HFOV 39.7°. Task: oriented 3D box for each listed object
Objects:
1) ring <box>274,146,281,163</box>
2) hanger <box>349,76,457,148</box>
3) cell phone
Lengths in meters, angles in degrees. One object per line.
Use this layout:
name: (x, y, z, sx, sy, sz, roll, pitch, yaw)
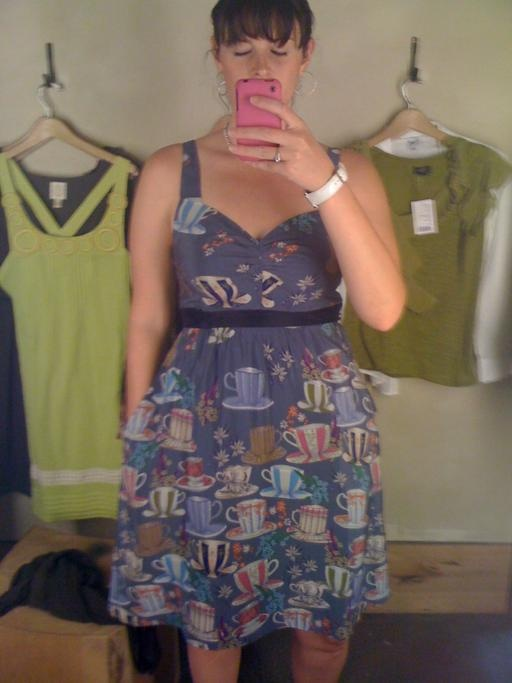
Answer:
ring: (0.030, -0.255, 0.980, 0.009, 0.021, 0.009, 1, 28, -1)
hanger: (0.331, -0.505, 1.554, 0.218, 0.111, 0.023, -5, 19, -5)
cell phone: (0.004, -0.336, 1.006, 0.062, 0.062, 0.045, 0, 27, -2)
